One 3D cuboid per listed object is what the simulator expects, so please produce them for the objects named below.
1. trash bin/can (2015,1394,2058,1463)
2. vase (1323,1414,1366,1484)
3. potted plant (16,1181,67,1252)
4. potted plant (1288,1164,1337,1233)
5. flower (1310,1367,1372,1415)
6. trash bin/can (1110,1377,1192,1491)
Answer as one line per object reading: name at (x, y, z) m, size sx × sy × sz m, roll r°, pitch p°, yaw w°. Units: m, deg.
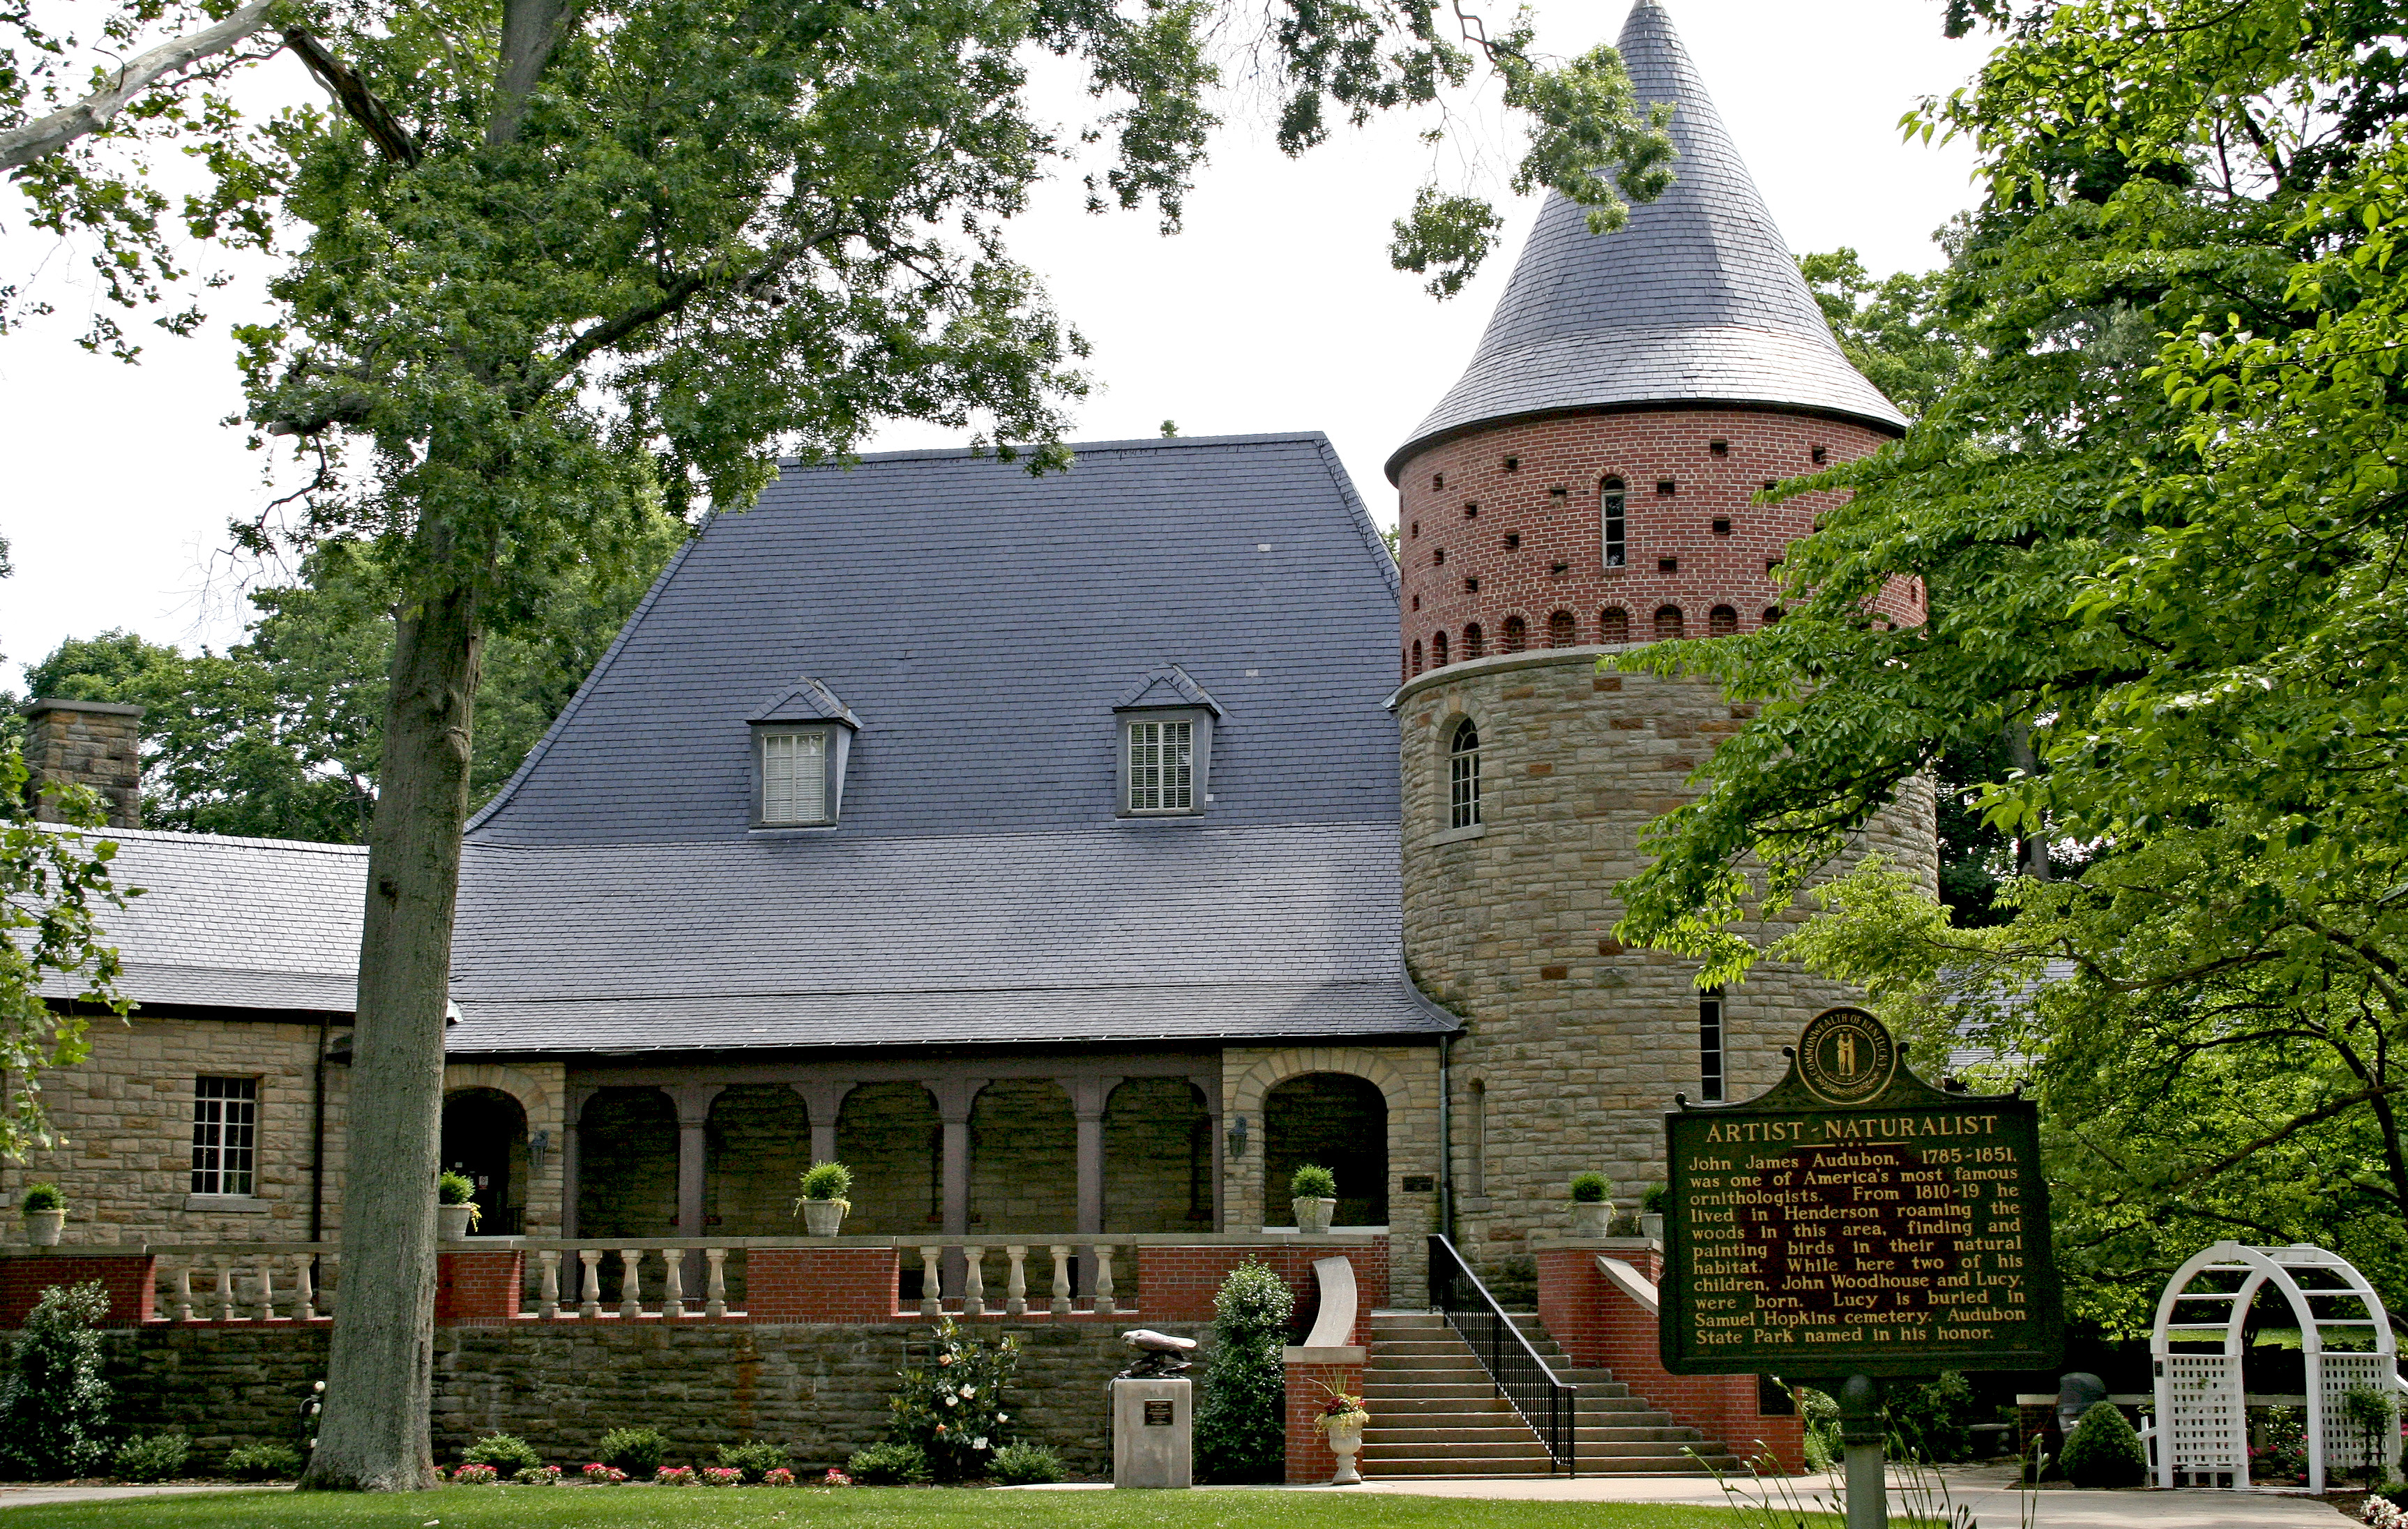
trash bin/can at (10.289, 8.156, 41.918) m, size 0.498 × 0.716 × 1.328 m, roll -4°, pitch -16°, yaw 11°
vase at (1.606, 8.091, 40.006) m, size 0.737 × 0.701 × 0.705 m, roll 1°, pitch -21°, yaw -4°
potted plant at (-15.132, 5.916, 44.213) m, size 0.804 × 0.865 × 0.727 m, roll 1°, pitch -13°, yaw -7°
potted plant at (1.413, 5.585, 43.408) m, size 0.978 × 1.021 × 0.768 m, roll 1°, pitch -6°, yaw 4°
flower at (1.623, 7.448, 40.241) m, size 0.620 × 0.402 × 0.628 m, roll -6°, pitch -8°, yaw 31°
trash bin/can at (-0.592, 7.583, 38.201) m, size 1.150 × 1.449 × 1.082 m, roll 0°, pitch -12°, yaw -2°
